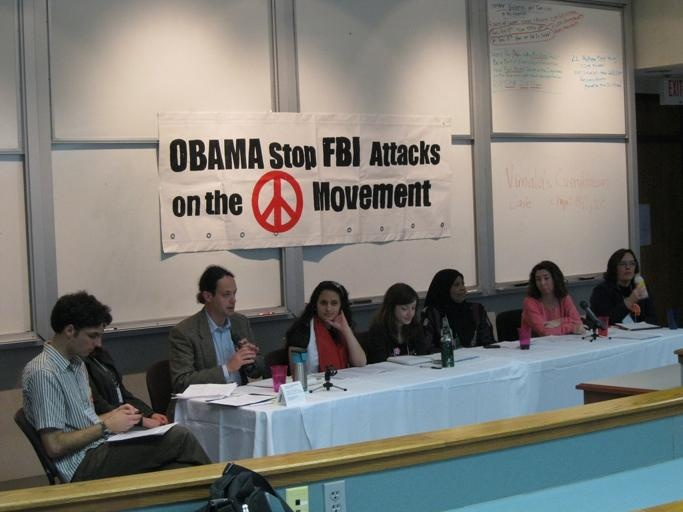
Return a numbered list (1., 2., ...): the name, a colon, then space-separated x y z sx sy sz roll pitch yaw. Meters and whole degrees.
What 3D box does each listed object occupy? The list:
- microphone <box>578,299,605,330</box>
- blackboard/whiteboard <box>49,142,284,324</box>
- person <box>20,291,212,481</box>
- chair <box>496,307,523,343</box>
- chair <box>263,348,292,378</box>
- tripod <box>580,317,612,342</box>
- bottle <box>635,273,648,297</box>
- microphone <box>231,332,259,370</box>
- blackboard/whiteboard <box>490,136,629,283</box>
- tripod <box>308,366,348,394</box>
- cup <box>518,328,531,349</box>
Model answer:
1. microphone: 1.936 0.451 4.650 0.222 0.082 0.086 46 -4 -15
2. blackboard/whiteboard: -1.318 -0.188 4.321 1.171 1.038 0.043 -1 -2 -31
3. person: -1.133 0.594 2.891 0.760 0.858 0.301 -5 6 -10
4. chair: 1.355 0.551 4.913 0.228 0.398 0.204 2 -3 -14
5. chair: -0.413 0.669 3.843 0.176 0.248 0.179 4 -13 -11
6. tripod: 1.857 0.548 4.381 0.190 0.211 0.199 0 -8 6
7. bottle: 2.419 0.254 4.874 0.097 0.219 0.388 0 7 27
8. microphone: -0.565 0.540 3.450 0.148 0.175 0.151 -2 6 19
9. blackboard/whiteboard: 2.005 -0.434 5.715 1.189 1.193 0.117 -1 -3 -23
10. tripod: -0.094 0.659 3.306 0.141 0.105 0.131 -2 4 -16
11. cup: 1.228 0.547 4.050 0.099 0.190 0.110 0 -10 8
